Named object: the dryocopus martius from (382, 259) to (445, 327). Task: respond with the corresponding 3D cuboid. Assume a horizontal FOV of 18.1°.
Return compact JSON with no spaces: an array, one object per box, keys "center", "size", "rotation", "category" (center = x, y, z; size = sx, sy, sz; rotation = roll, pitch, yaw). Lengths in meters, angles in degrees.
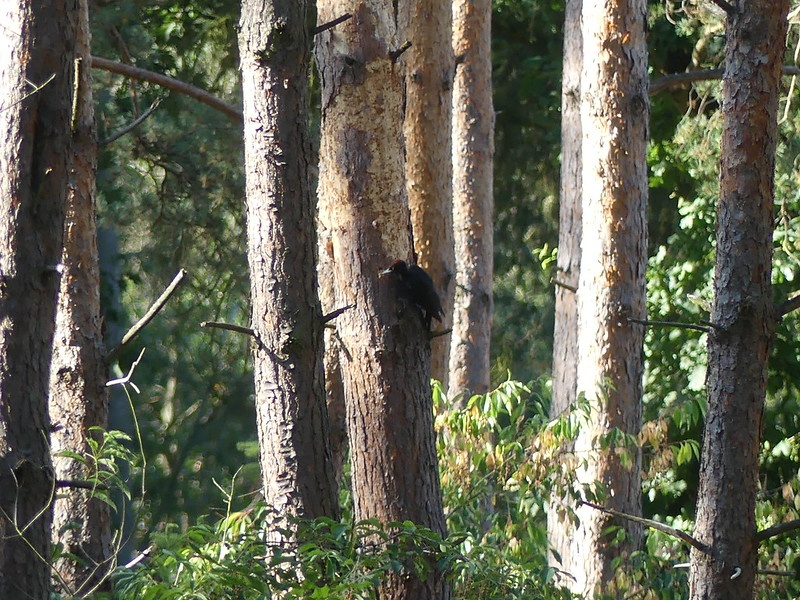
[{"center":[0.170,-0.100,22.243],"size":[0.383,0.334,0.688],"rotation":[-10,-71,3],"category":"dryocopus martius"}]
